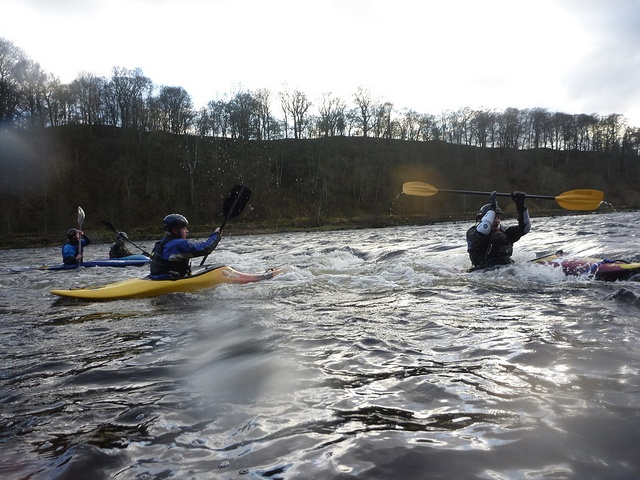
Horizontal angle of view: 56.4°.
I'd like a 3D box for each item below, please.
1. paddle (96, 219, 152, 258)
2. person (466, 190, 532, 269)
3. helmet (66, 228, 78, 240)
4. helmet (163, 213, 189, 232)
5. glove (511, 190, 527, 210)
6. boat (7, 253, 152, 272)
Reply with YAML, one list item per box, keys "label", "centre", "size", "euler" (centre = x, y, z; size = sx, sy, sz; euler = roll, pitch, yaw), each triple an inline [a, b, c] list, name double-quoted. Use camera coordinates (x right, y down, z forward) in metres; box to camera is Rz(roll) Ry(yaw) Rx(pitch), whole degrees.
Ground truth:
- label: "paddle"
  centre: [-9.505, -0.126, 28.732]
  size: [0.407, 0.433, 3.872]
  euler: [32, -16, 30]
- label: "person"
  centre: [3.480, -0.190, 11.768]
  size: [1.216, 1.488, 0.792]
  euler: [-6, 8, -38]
- label: "helmet"
  centre: [-6.481, -0.164, 15.734]
  size: [0.326, 0.288, 0.273]
  euler: [-8, 20, -35]
- label: "helmet"
  centre: [-2.647, -0.330, 10.915]
  size: [0.381, 0.286, 0.286]
  euler: [7, 2, -19]
- label: "glove"
  centre: [3.995, -0.803, 11.979]
  size: [0.285, 0.412, 0.160]
  euler: [1, 11, 18]
- label: "boat"
  centre: [-6.913, 0.648, 17.257]
  size: [3.620, 0.271, 0.393]
  euler: [-2, -6, -25]
